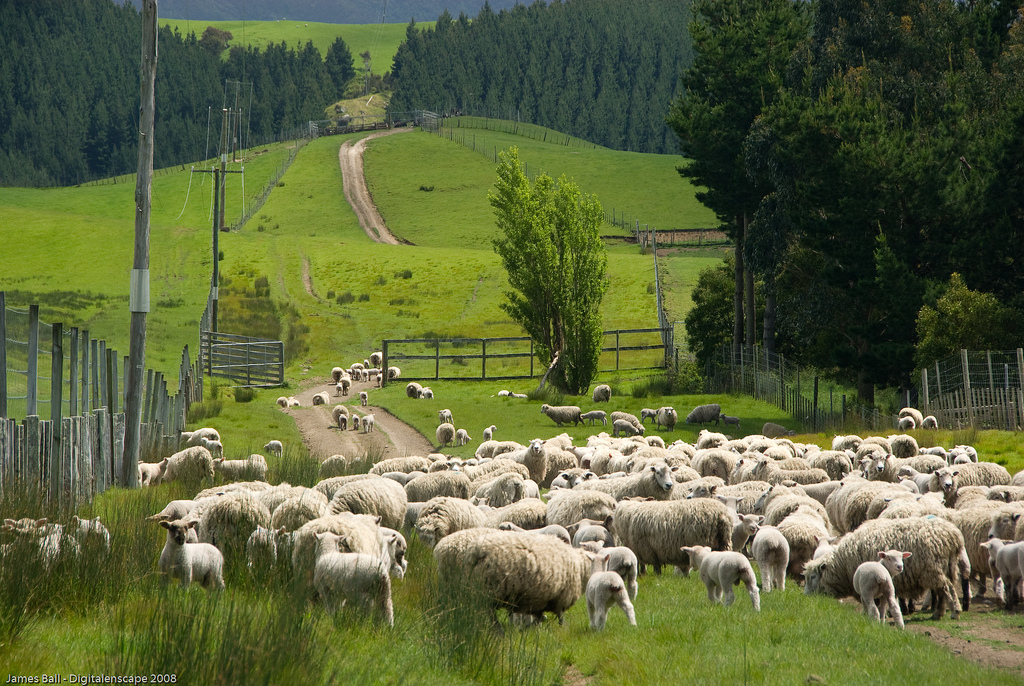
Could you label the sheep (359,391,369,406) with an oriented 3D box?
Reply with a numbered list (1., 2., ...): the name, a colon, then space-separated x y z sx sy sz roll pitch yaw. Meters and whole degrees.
1. sheep: -10.274 3.937 120.506 0.535 0.436 0.999 1 19 -6
